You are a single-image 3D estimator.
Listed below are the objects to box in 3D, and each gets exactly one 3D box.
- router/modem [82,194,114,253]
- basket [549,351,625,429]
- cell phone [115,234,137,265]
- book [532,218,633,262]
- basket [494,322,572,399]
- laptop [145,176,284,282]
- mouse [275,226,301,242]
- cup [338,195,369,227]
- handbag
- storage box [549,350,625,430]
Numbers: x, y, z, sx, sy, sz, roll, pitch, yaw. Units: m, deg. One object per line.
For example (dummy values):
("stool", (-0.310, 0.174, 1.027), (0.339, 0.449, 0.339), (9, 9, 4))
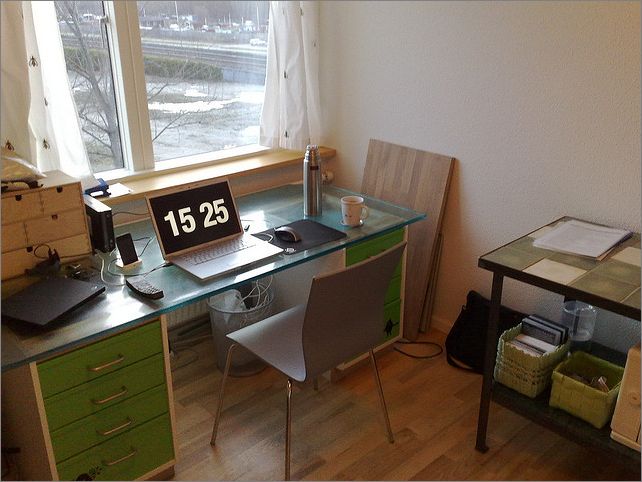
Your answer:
("router/modem", (-0.979, -0.067, 2.186), (0.098, 0.173, 0.194), (-15, 39, -40))
("basket", (1.140, 0.589, 2.124), (0.277, 0.219, 0.279), (18, 28, 40))
("cell phone", (-0.824, 0.042, 2.110), (0.016, 0.152, 0.077), (4, 26, 40))
("book", (1.157, -0.010, 2.183), (0.235, 0.036, 0.221), (19, 38, 41))
("basket", (0.951, 0.476, 2.233), (0.231, 0.224, 0.318), (20, 29, 34))
("laptop", (-0.459, -0.023, 2.184), (0.458, 0.293, 0.469), (29, 38, 34))
("mouse", (-0.156, -0.028, 2.309), (0.101, 0.038, 0.060), (19, 33, 25))
("cup", (0.162, -0.153, 2.520), (0.104, 0.120, 0.164), (-22, 33, -30))
("handbag", (0.847, 0.474, 2.491), (0.372, 0.384, 0.198), (32, 17, 36))
("storage box", (1.140, 0.595, 2.126), (0.278, 0.217, 0.280), (18, 28, 40))
